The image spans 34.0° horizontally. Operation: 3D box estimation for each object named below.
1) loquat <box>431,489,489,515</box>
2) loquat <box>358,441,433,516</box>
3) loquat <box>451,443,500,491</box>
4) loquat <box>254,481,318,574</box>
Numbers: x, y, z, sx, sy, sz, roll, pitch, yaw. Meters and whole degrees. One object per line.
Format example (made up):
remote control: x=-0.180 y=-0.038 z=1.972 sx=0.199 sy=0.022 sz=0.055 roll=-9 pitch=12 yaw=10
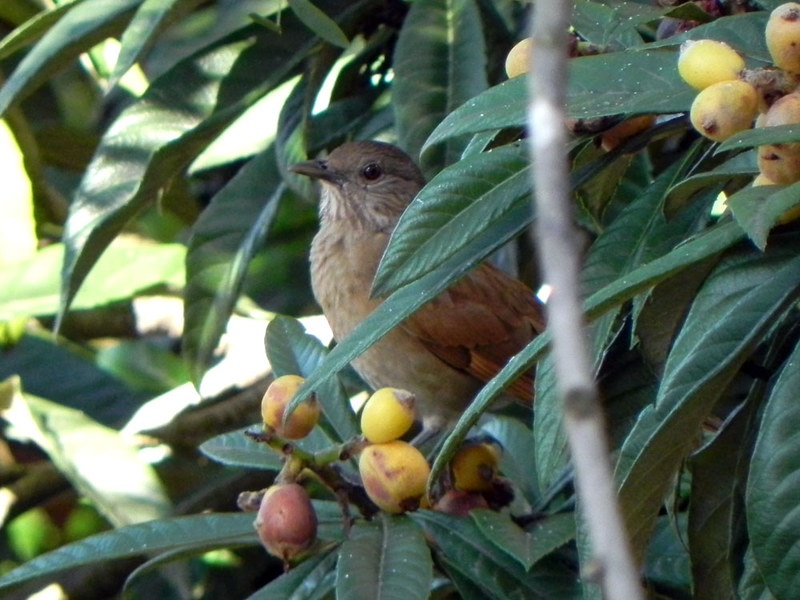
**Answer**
loquat: x=0.132 y=0.472 z=3.089 sx=0.088 sy=0.036 sz=0.065 roll=-7 pitch=-2 yaw=8
loquat: x=-0.017 y=0.397 z=2.874 sx=0.100 sy=0.127 sz=0.104 roll=-48 pitch=5 yaw=-41
loquat: x=0.171 y=0.403 z=3.131 sx=0.088 sy=0.094 sz=0.121 roll=-1 pitch=-29 yaw=5
loquat: x=-0.247 y=0.471 z=2.814 sx=0.129 sy=0.193 sz=0.118 roll=-3 pitch=-12 yaw=7
